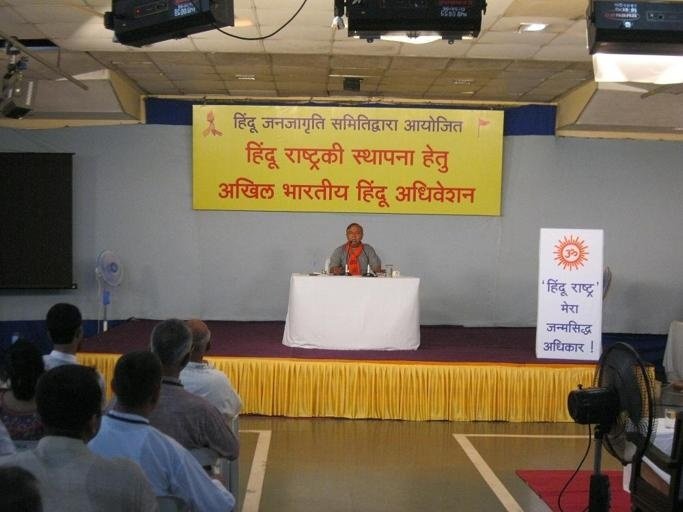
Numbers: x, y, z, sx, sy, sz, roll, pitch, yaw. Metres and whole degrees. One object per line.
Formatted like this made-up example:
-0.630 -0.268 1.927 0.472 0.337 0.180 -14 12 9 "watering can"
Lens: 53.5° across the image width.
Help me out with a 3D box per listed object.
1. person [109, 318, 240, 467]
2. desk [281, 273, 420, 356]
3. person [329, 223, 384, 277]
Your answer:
-0.999 0.937 4.619 0.563 0.993 0.353 1 16 -6 "person"
0.267 0.520 7.327 1.584 0.762 0.876 0 13 21 "desk"
0.158 -0.095 7.762 0.689 0.765 0.581 -1 -8 0 "person"
